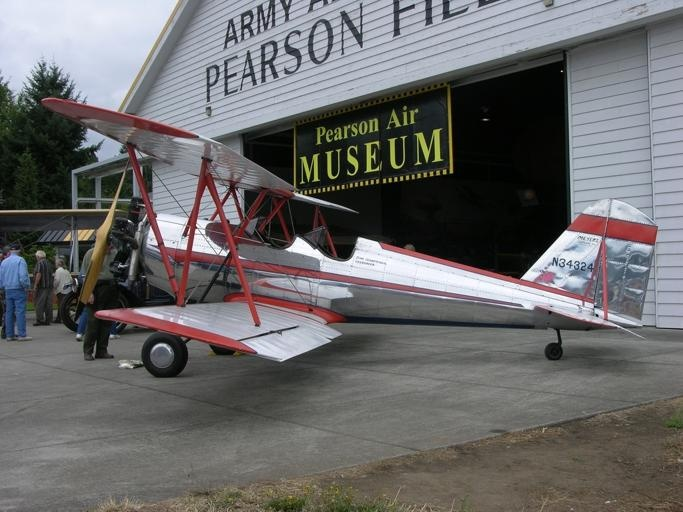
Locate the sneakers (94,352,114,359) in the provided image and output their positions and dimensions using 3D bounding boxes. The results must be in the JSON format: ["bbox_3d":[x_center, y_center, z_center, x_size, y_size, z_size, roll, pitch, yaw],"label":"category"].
[{"bbox_3d":[-3.422,1.445,8.087,0.306,0.079,0.089,1,3,-11],"label":"sneakers"}]

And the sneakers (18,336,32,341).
[{"bbox_3d":[-5.917,1.536,10.397,0.317,0.084,0.087,-1,4,-15],"label":"sneakers"}]

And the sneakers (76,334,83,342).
[{"bbox_3d":[-4.554,1.426,9.727,0.114,0.095,0.278,4,-14,-25],"label":"sneakers"}]
